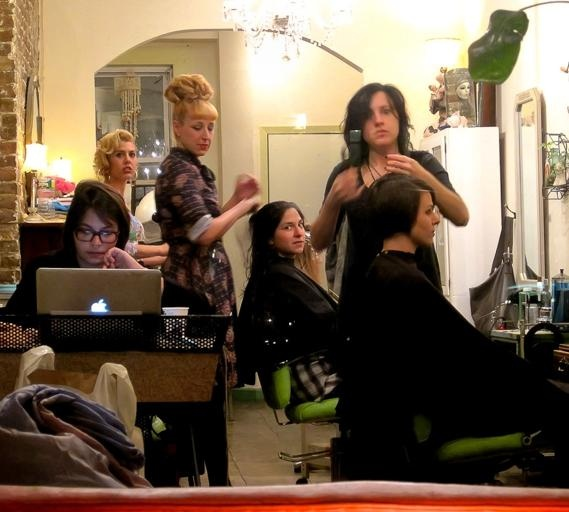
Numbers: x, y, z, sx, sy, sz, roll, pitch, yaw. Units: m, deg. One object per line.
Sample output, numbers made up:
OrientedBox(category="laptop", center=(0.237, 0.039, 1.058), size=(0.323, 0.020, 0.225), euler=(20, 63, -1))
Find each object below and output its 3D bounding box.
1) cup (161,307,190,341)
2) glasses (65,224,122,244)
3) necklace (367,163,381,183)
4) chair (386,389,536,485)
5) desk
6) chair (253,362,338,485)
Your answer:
OrientedBox(category="cup", center=(-0.278, 0.165, 1.522), size=(0.063, 0.053, 0.067), euler=(0, -14, 0))
OrientedBox(category="glasses", center=(-0.563, -0.066, 1.806), size=(0.125, 0.054, 0.047), euler=(0, 2, -20))
OrientedBox(category="necklace", center=(0.197, -0.187, 1.338), size=(0.015, 0.059, 0.006), euler=(-40, -44, 25))
OrientedBox(category="chair", center=(0.407, 0.433, 1.511), size=(0.220, 0.238, 0.208), euler=(-1, -8, -2))
OrientedBox(category="desk", center=(-0.378, 0.260, 1.339), size=(0.325, 0.386, 0.210), euler=(10, 20, 15))
OrientedBox(category="chair", center=(0.068, 0.485, 1.785), size=(0.307, 0.325, 0.286), euler=(-20, -19, 38))
